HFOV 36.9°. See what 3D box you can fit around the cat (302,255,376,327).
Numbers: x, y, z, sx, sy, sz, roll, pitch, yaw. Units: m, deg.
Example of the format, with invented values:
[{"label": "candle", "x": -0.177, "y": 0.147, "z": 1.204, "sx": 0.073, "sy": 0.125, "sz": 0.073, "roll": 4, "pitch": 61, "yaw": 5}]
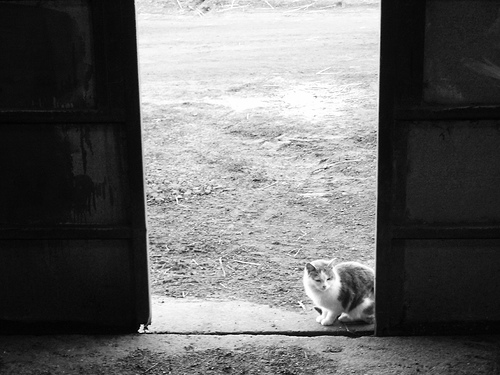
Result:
[{"label": "cat", "x": 0.786, "y": 0.862, "z": 6.364, "sx": 0.730, "sy": 0.568, "sz": 0.403, "roll": 1, "pitch": 3, "yaw": -32}]
